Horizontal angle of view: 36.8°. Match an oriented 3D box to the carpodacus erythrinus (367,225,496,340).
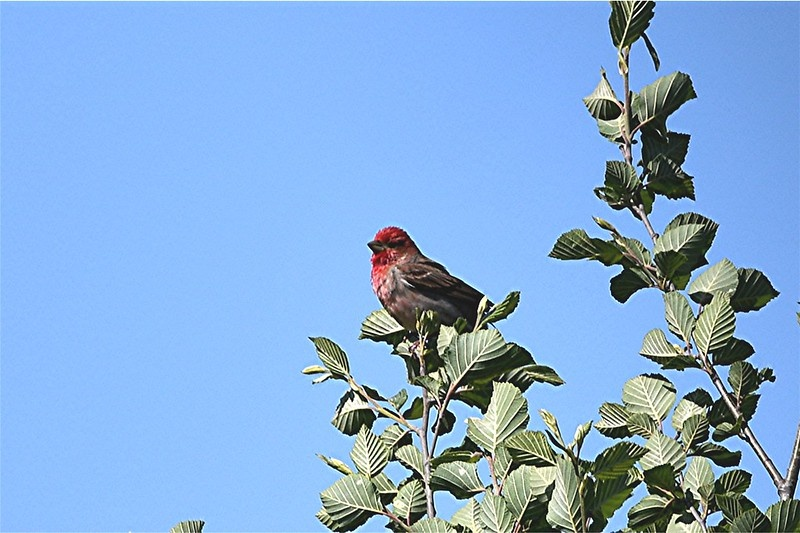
[{"bbox_3d":[0.228,0.082,7.870,0.921,0.750,0.536,-5,3,-36],"label":"carpodacus erythrinus"}]
